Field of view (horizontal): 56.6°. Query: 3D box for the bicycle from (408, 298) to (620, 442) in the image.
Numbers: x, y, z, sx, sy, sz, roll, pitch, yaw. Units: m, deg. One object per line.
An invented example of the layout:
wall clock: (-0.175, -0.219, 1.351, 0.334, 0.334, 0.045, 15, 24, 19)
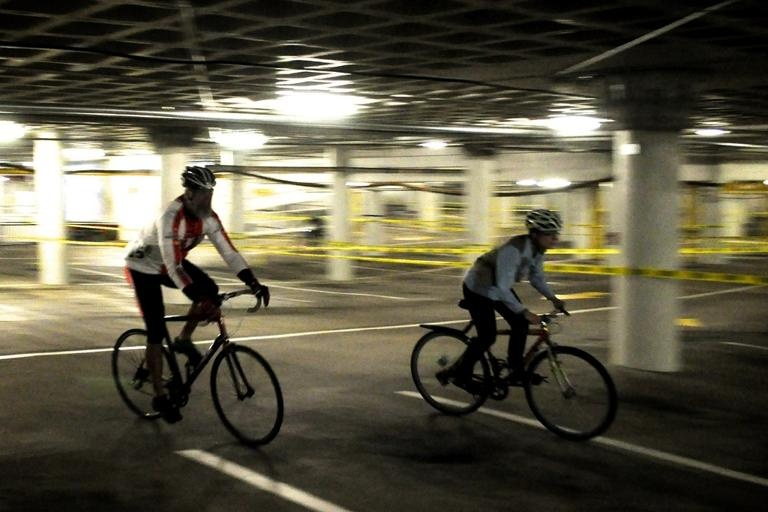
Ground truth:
bicycle: (1.475, 1.251, 7.800, 2.766, 1.012, 1.195, 1, -2, 26)

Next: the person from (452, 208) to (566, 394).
person: (1.281, 0.446, 7.279, 0.750, 1.848, 0.873, -2, 8, -30)

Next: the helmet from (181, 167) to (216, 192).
helmet: (-1.782, -0.747, 6.841, 0.309, 0.232, 0.292, 0, 6, -12)

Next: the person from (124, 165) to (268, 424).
person: (-1.957, 0.412, 7.003, 1.330, 2.589, 0.781, 2, 7, -4)

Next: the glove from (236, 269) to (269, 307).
glove: (-1.299, 0.324, 6.997, 0.296, 0.413, 0.811, 1, 5, -11)

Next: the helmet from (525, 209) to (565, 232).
helmet: (1.595, -0.348, 7.086, 0.338, 0.221, 0.272, 2, 6, 8)
